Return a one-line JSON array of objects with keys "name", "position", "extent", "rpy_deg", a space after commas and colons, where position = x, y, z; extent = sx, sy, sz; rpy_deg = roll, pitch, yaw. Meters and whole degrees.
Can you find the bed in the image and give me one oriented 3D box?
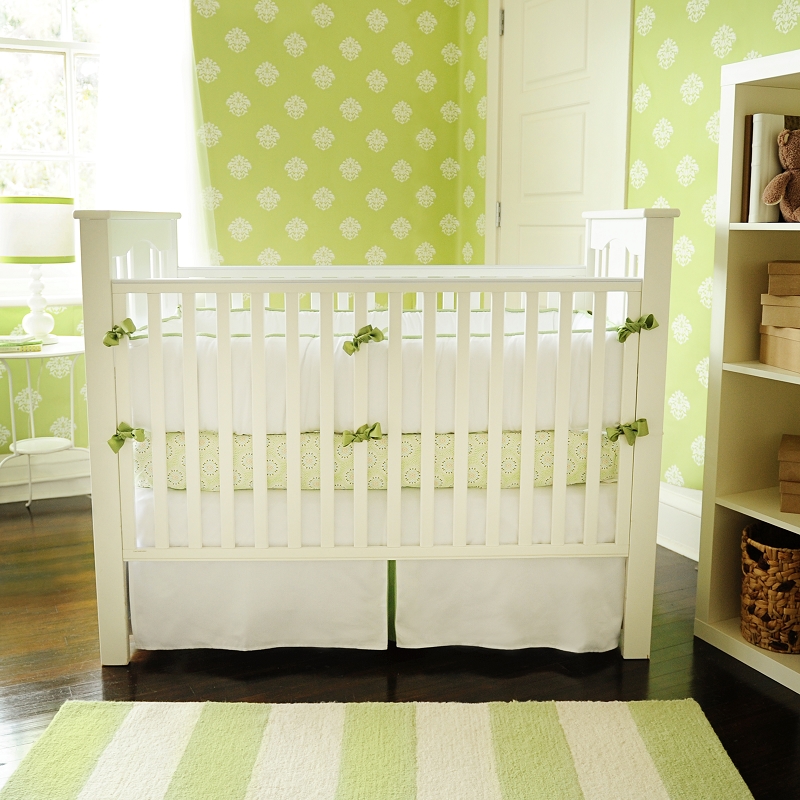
[{"name": "bed", "position": [-0.052, 0.073, 2.083], "extent": [1.292, 0.969, 0.761], "rpy_deg": [0, 5, 0]}]
